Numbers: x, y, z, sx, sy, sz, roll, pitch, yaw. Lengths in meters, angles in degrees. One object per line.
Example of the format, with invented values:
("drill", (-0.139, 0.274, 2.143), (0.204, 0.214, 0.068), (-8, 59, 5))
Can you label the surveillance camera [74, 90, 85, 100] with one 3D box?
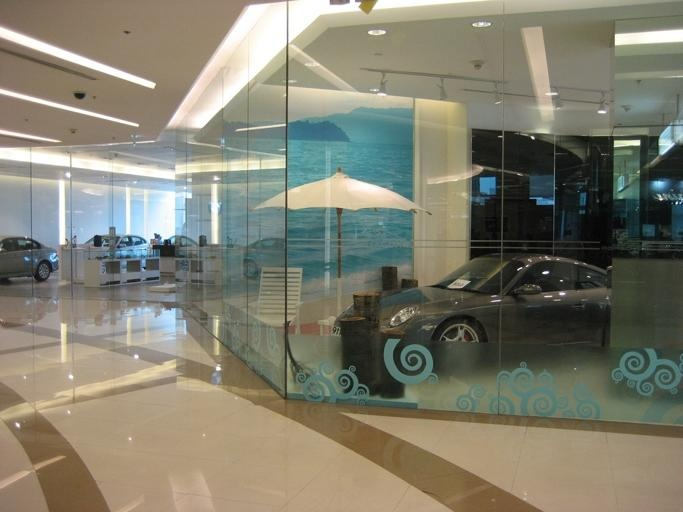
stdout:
("surveillance camera", (-4.245, -2.596, 8.172), (0.107, 0.041, 0.107), (-1, -11, 0))
